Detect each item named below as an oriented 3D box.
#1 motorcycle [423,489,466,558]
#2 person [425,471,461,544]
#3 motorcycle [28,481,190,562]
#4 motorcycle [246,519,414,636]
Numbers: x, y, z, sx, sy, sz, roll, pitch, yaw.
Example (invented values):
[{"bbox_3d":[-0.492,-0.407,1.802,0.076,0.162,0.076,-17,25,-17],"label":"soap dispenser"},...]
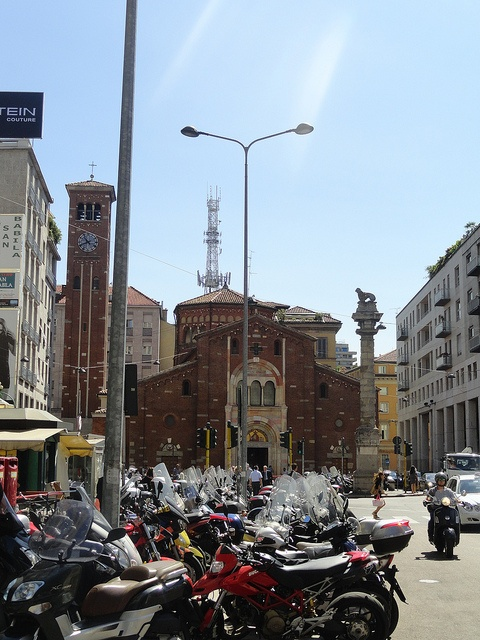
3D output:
[{"bbox_3d":[3.757,3.691,13.213,0.513,0.994,1.319,-4,-9,3],"label":"motorcycle"},{"bbox_3d":[3.744,3.465,13.534,0.654,1.019,1.401,-1,-14,1],"label":"person"},{"bbox_3d":[-1.038,1.583,5.347,0.913,0.657,0.591,-4,-8,-3],"label":"motorcycle"},{"bbox_3d":[0.852,2.235,6.368,1.525,1.084,0.901,0,-26,6],"label":"motorcycle"}]
